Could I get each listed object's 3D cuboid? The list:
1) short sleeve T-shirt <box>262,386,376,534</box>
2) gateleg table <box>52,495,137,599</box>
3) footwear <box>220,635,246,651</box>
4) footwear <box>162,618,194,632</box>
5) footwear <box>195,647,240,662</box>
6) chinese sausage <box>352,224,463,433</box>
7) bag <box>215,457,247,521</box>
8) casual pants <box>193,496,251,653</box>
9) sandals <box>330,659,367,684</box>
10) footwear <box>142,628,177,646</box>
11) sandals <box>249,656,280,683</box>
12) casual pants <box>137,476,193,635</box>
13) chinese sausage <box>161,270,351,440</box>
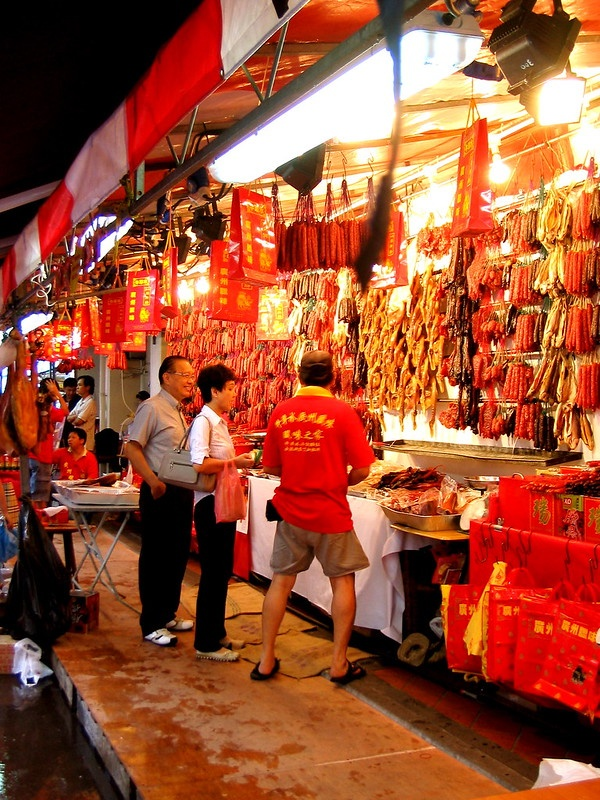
[{"bbox_3d":[0.070,0.339,3.351,0.670,0.826,0.239,-2,-7,32],"label":"short sleeve T-shirt"},{"bbox_3d":[-1.804,1.362,5.165,0.552,0.743,1.062,-12,-19,-14],"label":"gateleg table"},{"bbox_3d":[-0.452,1.625,3.884,0.192,0.073,0.063,-1,2,-2],"label":"footwear"},{"bbox_3d":[-0.901,1.662,4.323,0.221,0.084,0.077,1,2,-9],"label":"footwear"},{"bbox_3d":[-0.519,1.599,3.682,0.196,0.058,0.095,-3,-1,6],"label":"footwear"},{"bbox_3d":[0.943,-0.576,5.031,1.067,1.556,0.474,-1,4,37],"label":"chinese sausage"},{"bbox_3d":[-0.437,0.575,3.648,0.187,0.397,0.145,4,-6,-16],"label":"bag"},{"bbox_3d":[-0.544,1.105,3.706,0.237,0.993,0.219,5,-7,-31],"label":"casual pants"},{"bbox_3d":[0.291,1.597,3.423,0.090,0.086,0.228,-1,6,34],"label":"sandals"},{"bbox_3d":[-0.943,1.603,3.967,0.177,0.072,0.099,-5,-3,36],"label":"footwear"},{"bbox_3d":[-0.203,1.598,3.461,0.083,0.044,0.180,-3,-3,11],"label":"sandals"},{"bbox_3d":[-0.928,1.094,3.963,0.293,1.022,0.243,1,-6,11],"label":"casual pants"},{"bbox_3d":[-0.289,-0.648,6.854,0.845,2.586,1.529,-2,-15,-22],"label":"chinese sausage"}]
